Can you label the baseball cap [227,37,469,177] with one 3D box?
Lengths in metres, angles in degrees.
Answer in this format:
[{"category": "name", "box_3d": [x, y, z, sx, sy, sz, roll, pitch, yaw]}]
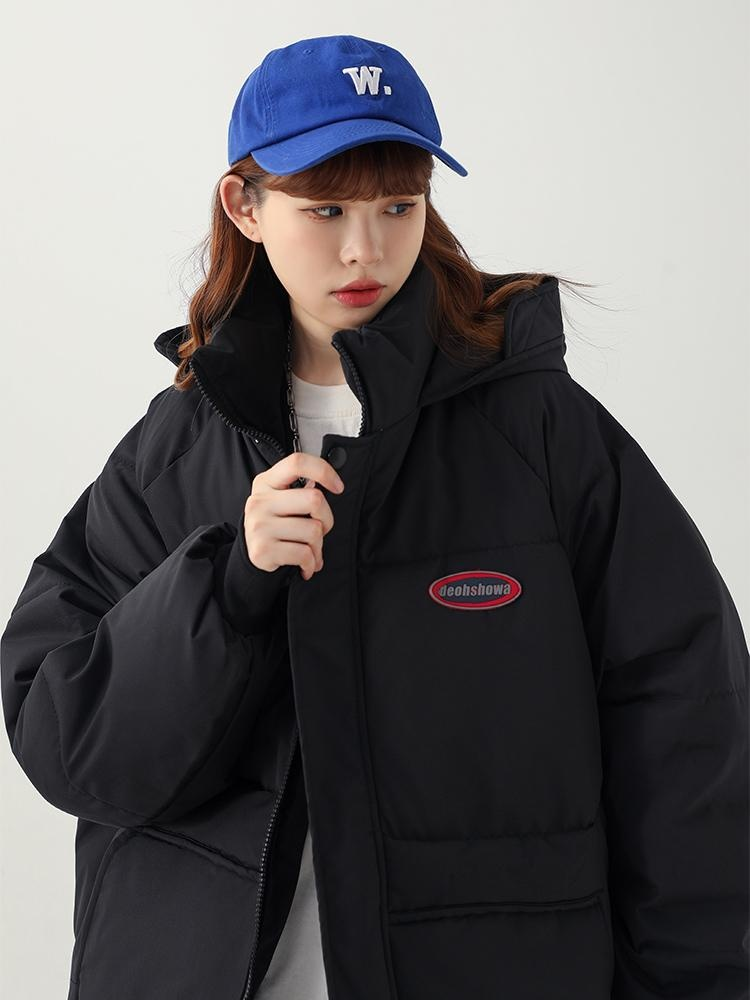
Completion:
[{"category": "baseball cap", "box_3d": [-0.039, -0.411, 1.107, 0.240, 0.136, 0.291, -4, 15, -5]}]
